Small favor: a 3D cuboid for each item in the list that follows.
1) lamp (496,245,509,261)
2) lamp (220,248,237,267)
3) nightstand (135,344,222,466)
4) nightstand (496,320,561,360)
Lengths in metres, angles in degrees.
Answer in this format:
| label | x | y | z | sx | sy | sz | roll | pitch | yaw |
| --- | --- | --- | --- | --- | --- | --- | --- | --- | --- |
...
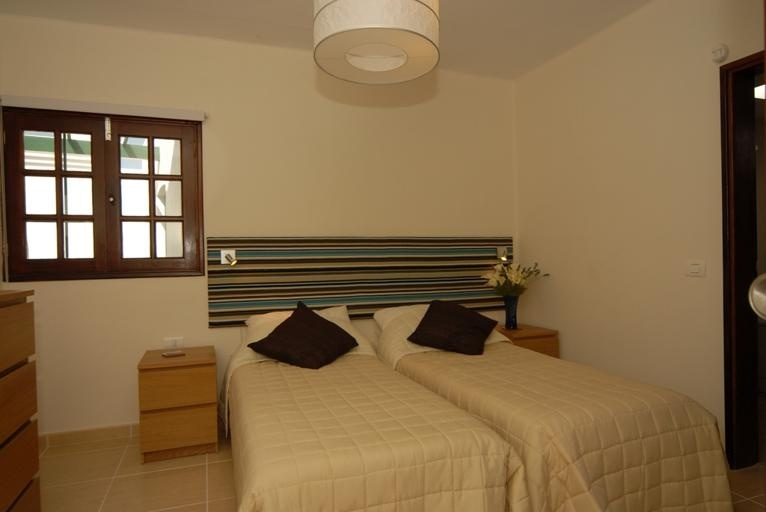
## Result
| label | x | y | z | sx | sy | sz | roll | pitch | yaw |
| --- | --- | --- | --- | --- | --- | --- | --- | --- | --- |
| lamp | 1.330 | -0.050 | 5.966 | 0.115 | 0.168 | 0.156 | 2 | -8 | -2 |
| lamp | -1.487 | -0.005 | 5.086 | 0.180 | 0.192 | 0.127 | 0 | 3 | -27 |
| nightstand | -1.768 | 1.286 | 4.864 | 0.830 | 1.197 | 0.755 | 1 | -7 | -24 |
| nightstand | 1.525 | 0.802 | 5.470 | 0.387 | 0.395 | 0.380 | -1 | 1 | -26 |
